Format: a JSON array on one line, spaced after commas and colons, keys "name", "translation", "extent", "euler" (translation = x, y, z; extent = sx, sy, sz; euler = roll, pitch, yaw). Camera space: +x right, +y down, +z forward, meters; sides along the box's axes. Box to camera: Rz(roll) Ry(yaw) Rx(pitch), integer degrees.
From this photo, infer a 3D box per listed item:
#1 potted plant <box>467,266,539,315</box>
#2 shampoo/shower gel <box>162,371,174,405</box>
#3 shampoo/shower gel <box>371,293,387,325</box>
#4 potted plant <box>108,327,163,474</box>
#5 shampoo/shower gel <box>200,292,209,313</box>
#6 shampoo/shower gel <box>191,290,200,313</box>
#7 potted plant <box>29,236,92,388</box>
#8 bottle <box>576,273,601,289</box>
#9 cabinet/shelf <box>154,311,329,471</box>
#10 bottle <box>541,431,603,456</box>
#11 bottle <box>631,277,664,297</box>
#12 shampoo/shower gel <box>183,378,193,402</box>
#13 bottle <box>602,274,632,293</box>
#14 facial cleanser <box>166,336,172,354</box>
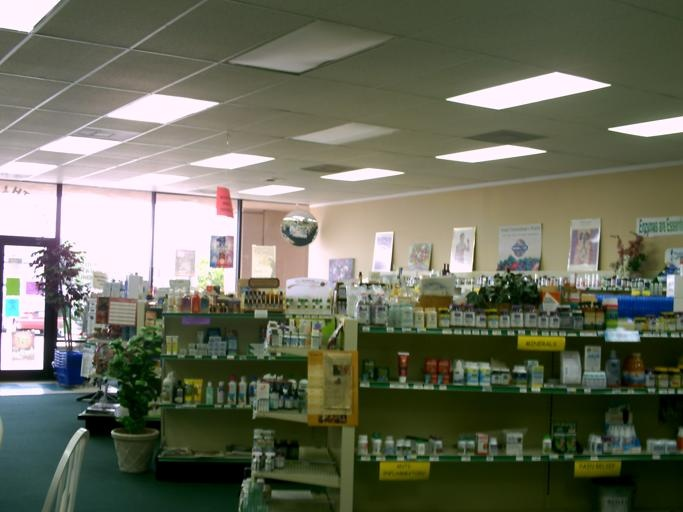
[{"name": "potted plant", "translation": [1.537, 0.353, 5.706], "extent": [0.466, 0.291, 0.416], "euler": [-2, 2, -20]}, {"name": "shampoo/shower gel", "translation": [-2.008, 1.523, 6.936], "extent": [0.142, 0.318, 0.218], "euler": [4, -5, -17]}, {"name": "shampoo/shower gel", "translation": [0.347, 0.507, 5.505], "extent": [0.141, 0.268, 0.087], "euler": [2, -5, 1]}, {"name": "potted plant", "translation": [-2.491, 1.705, 7.199], "extent": [0.615, 1.693, 0.975], "euler": [4, -5, -18]}, {"name": "shampoo/shower gel", "translation": [-1.583, 0.543, 6.898], "extent": [0.096, 0.215, 0.165], "euler": [4, -5, -23]}, {"name": "shampoo/shower gel", "translation": [-1.689, 0.540, 6.948], "extent": [0.106, 0.233, 0.213], "euler": [4, -5, -14]}, {"name": "potted plant", "translation": [-5.414, 1.141, 11.767], "extent": [0.876, 2.744, 0.876], "euler": [-10, -10, 21]}, {"name": "bottle", "translation": [3.924, 0.410, 9.528], "extent": [0.278, 0.218, 0.282], "euler": [1, -3, 0]}, {"name": "cabinet/shelf", "translation": [-1.076, 1.497, 6.414], "extent": [1.760, 1.780, 0.606], "euler": [1, -4, -9]}, {"name": "bottle", "translation": [2.158, 1.790, 5.600], "extent": [0.293, 0.106, 0.304], "euler": [0, -1, 0]}, {"name": "bottle", "translation": [4.313, 0.430, 8.457], "extent": [0.409, 0.302, 1.569], "euler": [0, -5, 26]}, {"name": "shampoo/shower gel", "translation": [-1.782, 1.562, 6.911], "extent": [0.164, 0.250, 0.071], "euler": [-1, -6, 35]}, {"name": "bottle", "translation": [4.136, 0.424, 9.023], "extent": [0.368, 0.144, 0.284], "euler": [2, -2, -23]}, {"name": "facial cleanser", "translation": [-2.011, 1.036, 6.976], "extent": [0.104, 0.192, 0.044], "euler": [0, -5, 26]}]
